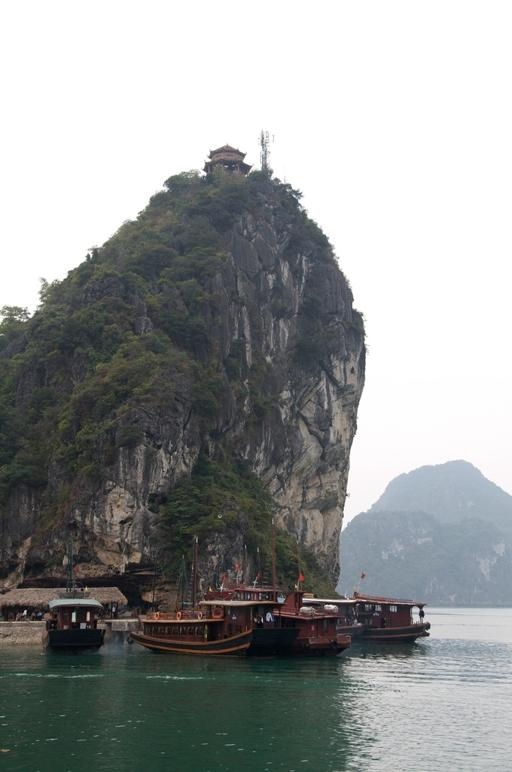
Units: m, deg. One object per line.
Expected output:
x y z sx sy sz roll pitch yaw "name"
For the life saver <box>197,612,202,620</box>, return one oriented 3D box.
-3.049 12.299 67.885 0.242 0.404 0.092 -2 -14 32 "life saver"
